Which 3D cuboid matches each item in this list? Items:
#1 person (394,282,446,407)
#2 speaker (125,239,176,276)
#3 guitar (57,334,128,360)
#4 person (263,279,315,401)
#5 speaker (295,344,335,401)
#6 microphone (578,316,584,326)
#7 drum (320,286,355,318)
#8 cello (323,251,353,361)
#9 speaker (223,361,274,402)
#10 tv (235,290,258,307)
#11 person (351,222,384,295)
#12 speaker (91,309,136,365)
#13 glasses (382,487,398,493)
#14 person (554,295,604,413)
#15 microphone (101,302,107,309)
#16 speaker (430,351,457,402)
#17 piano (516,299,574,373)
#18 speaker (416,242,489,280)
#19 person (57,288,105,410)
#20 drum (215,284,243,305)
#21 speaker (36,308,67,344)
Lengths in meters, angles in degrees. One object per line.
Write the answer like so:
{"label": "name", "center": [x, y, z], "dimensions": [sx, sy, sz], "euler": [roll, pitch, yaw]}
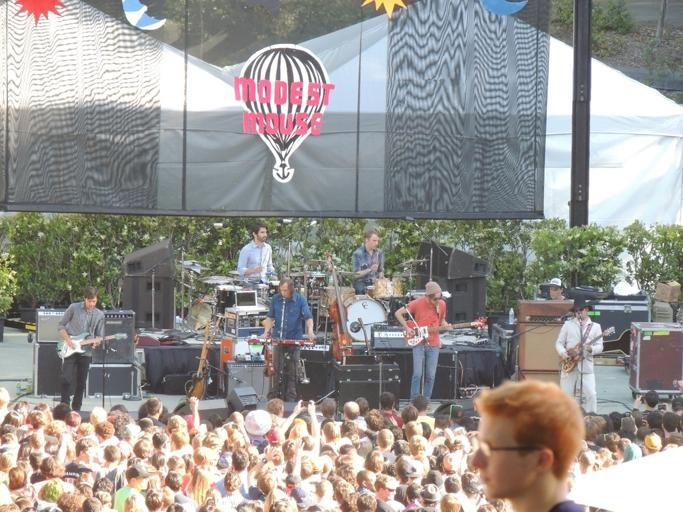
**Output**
{"label": "person", "center": [1.437, 1.529, 26.252], "dimensions": [0.865, 2.171, 0.700], "euler": [3, 7, -6]}
{"label": "speaker", "center": [-3.780, 0.036, 29.426], "dimensions": [0.841, 0.545, 0.634], "euler": [-1, 10, -4]}
{"label": "guitar", "center": [-4.316, 1.537, 25.651], "dimensions": [0.911, 0.436, 0.757], "euler": [-2, 6, -35]}
{"label": "person", "center": [-0.907, 1.403, 26.447], "dimensions": [0.870, 2.151, 0.811], "euler": [-3, 8, -18]}
{"label": "speaker", "center": [-0.449, 2.109, 26.358], "dimensions": [0.673, 0.986, 0.621], "euler": [-1, 6, 0]}
{"label": "microphone", "center": [4.181, 1.127, 26.141], "dimensions": [0.072, 0.112, 0.036], "euler": [-6, -5, 36]}
{"label": "drum", "center": [-0.045, 0.871, 28.264], "dimensions": [0.551, 0.564, 0.564], "euler": [1, -1, -10]}
{"label": "cello", "center": [-0.120, 0.861, 26.665], "dimensions": [0.311, 2.144, 0.640], "euler": [-10, 3, 16]}
{"label": "speaker", "center": [-1.654, 2.143, 26.454], "dimensions": [0.962, 0.961, 0.572], "euler": [1, -4, -18]}
{"label": "tv", "center": [-1.669, 0.767, 26.547], "dimensions": [0.447, 0.329, 0.245], "euler": [0, 5, -12]}
{"label": "person", "center": [0.502, 0.053, 28.427], "dimensions": [0.460, 1.347, 0.490], "euler": [0, 6, -26]}
{"label": "speaker", "center": [-3.918, 1.438, 26.454], "dimensions": [0.828, 1.536, 0.850], "euler": [0, -2, -7]}
{"label": "glasses", "center": [0.700, 3.202, 20.468], "dimensions": [0.172, 0.072, 0.053], "euler": [9, -16, -43]}
{"label": "person", "center": [4.188, 1.875, 26.167], "dimensions": [0.716, 2.260, 0.624], "euler": [3, 9, 14]}
{"label": "microphone", "center": [-5.182, 1.106, 32.806], "dimensions": [0.172, 0.170, 0.170], "euler": [0, -2, -40]}
{"label": "speaker", "center": [1.896, 2.176, 27.013], "dimensions": [0.669, 1.002, 0.750], "euler": [0, -2, -3]}
{"label": "piano", "center": [3.613, 1.490, 27.324], "dimensions": [0.865, 1.367, 0.779], "euler": [-2, 5, -1]}
{"label": "speaker", "center": [2.272, 0.147, 30.288], "dimensions": [0.805, 0.818, 1.210], "euler": [-5, 2, -19]}
{"label": "person", "center": [-4.484, 1.588, 25.937], "dimensions": [1.118, 2.244, 0.674], "euler": [2, -3, -19]}
{"label": "drum", "center": [-2.035, 0.611, 26.845], "dimensions": [0.477, 0.375, 0.320], "euler": [2, -4, 14]}
{"label": "speaker", "center": [-5.024, 1.240, 26.601], "dimensions": [0.647, 0.648, 0.500], "euler": [0, 3, 3]}
